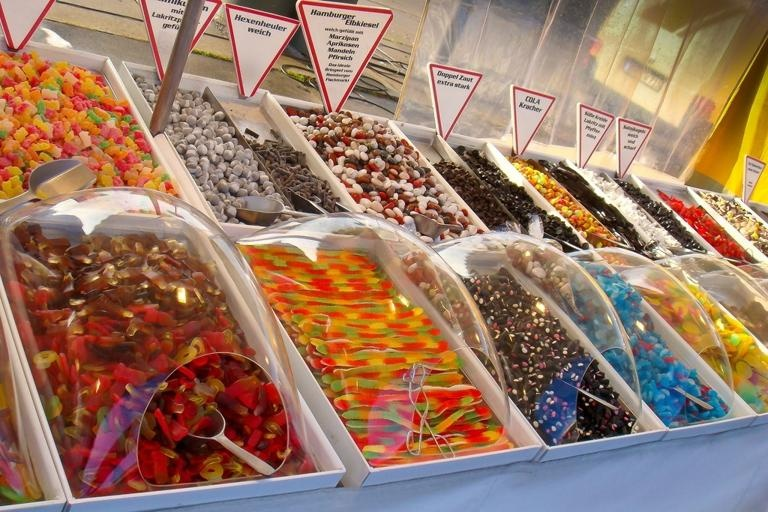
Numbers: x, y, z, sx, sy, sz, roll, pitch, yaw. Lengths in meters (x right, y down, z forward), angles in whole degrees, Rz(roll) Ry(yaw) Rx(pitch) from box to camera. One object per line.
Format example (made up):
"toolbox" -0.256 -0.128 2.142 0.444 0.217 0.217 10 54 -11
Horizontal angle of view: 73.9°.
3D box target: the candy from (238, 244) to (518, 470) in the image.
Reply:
"candy" -0.078 0.264 1.407 0.432 0.187 0.767 -17 60 -45

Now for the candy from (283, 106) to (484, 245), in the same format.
"candy" -0.069 -0.378 2.406 0.569 0.214 0.936 -6 48 -46

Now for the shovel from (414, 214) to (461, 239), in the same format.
"shovel" 0.231 -0.138 2.228 0.158 0.058 0.114 22 1 6

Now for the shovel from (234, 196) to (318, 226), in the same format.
"shovel" -0.428 -0.169 1.915 0.229 0.037 0.141 7 17 -5

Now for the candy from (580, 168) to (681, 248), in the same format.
"candy" 1.471 -0.315 3.193 0.717 0.468 0.470 -9 21 -21

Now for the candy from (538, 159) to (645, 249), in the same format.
"candy" 1.166 -0.364 3.098 0.934 0.249 0.175 46 -14 19

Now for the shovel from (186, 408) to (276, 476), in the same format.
"shovel" -0.300 0.411 1.069 0.251 0.074 0.071 35 -11 -6
